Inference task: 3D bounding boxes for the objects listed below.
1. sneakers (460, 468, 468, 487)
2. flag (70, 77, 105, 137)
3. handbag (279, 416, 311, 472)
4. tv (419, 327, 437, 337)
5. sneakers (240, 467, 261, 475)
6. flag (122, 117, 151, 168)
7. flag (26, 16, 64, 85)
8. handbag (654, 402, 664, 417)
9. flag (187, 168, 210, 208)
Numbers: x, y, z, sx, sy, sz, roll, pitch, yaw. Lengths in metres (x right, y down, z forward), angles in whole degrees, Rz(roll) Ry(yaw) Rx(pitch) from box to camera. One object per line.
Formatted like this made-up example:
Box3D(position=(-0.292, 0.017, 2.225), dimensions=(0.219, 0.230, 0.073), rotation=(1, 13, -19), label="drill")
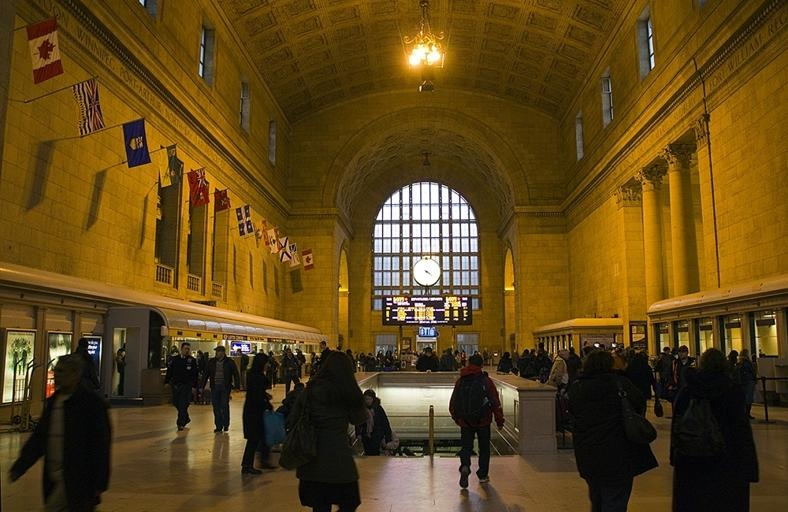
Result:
Box3D(position=(1.294, 4.141, 11.422), dimensions=(0.153, 0.391, 0.282), rotation=(0, -12, 2), label="sneakers")
Box3D(position=(-9.495, -4.659, 18.993), dimensions=(0.819, 1.698, 0.770), rotation=(3, -12, -12), label="flag")
Box3D(position=(-1.384, 2.649, 8.665), dimensions=(0.445, 0.716, 0.251), rotation=(2, -12, -10), label="handbag")
Box3D(position=(2.264, 5.065, 41.212), dimensions=(1.124, 0.618, 0.151), rotation=(4, -40, -13), label="tv")
Box3D(position=(-2.901, 4.320, 12.307), dimensions=(0.431, 0.183, 0.146), rotation=(4, -8, -2), label="sneakers")
Box3D(position=(-8.944, -3.974, 21.160), dimensions=(0.898, 1.878, 1.262), rotation=(6, -13, -24), label="flag")
Box3D(position=(-9.876, -5.889, 17.246), dimensions=(0.897, 1.899, 0.564), rotation=(0, -12, -1), label="flag")
Box3D(position=(4.603, 2.643, 10.628), dimensions=(0.089, 0.257, 1.529), rotation=(-5, -13, 24), label="handbag")
Box3D(position=(-8.463, -3.021, 26.230), dimensions=(0.638, 1.849, 1.088), rotation=(-1, -12, 7), label="flag")
